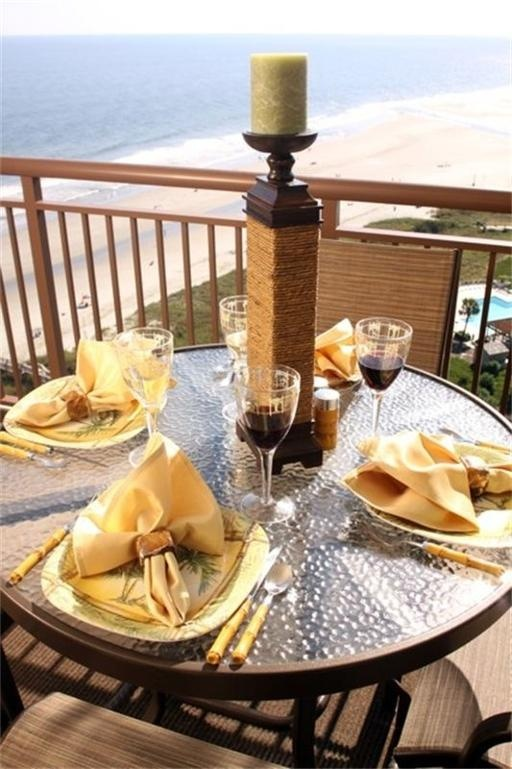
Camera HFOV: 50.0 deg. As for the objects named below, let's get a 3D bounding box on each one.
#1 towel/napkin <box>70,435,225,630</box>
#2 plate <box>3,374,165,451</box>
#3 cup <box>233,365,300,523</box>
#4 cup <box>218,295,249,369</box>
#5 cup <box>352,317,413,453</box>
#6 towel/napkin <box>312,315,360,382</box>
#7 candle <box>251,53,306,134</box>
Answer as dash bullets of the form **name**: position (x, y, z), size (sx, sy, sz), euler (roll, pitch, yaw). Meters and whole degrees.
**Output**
- **towel/napkin**: position (-0.127, 0.162, 0.635), size (0.146, 0.085, 0.194), euler (-19, 52, -26)
- **plate**: position (-0.294, 0.000, 1.014), size (0.269, 0.124, 0.211), euler (15, 27, 39)
- **cup**: position (0.002, 0.084, 0.783), size (0.090, 0.202, 0.105), euler (-2, 27, -4)
- **cup**: position (-0.044, -0.108, 1.097), size (0.068, 0.134, 0.064), euler (1, 24, 0)
- **cup**: position (0.207, 0.008, 0.948), size (0.107, 0.223, 0.097), euler (8, 25, 9)
- **towel/napkin**: position (0.165, -0.076, 1.176), size (0.116, 0.049, 0.113), euler (-35, 41, -15)
- **candle**: position (0.033, -0.412, 0.774), size (0.082, 0.103, 0.064), euler (0, 26, 4)
